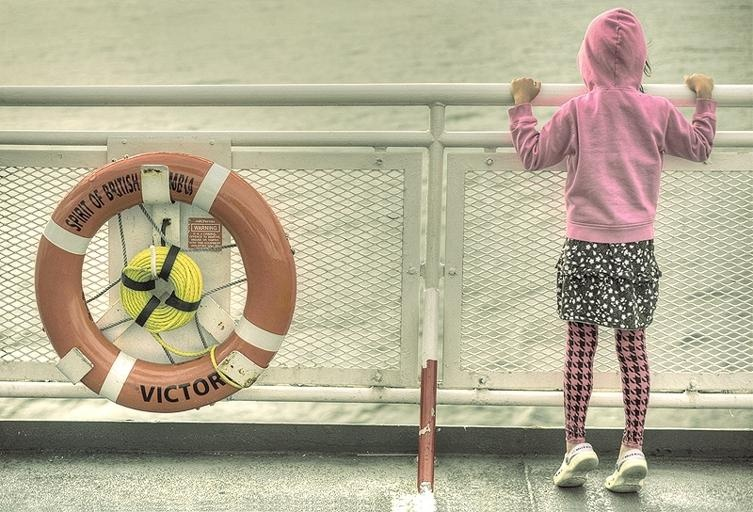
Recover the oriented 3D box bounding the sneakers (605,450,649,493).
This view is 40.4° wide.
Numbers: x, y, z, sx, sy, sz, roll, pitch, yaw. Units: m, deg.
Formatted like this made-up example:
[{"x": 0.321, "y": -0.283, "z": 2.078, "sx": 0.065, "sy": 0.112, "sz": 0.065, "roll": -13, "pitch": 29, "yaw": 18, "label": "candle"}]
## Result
[{"x": 1.349, "y": 1.198, "z": 5.685, "sx": 0.169, "sy": 0.316, "sz": 0.143, "roll": 10, "pitch": 56, "yaw": -2, "label": "sneakers"}]
